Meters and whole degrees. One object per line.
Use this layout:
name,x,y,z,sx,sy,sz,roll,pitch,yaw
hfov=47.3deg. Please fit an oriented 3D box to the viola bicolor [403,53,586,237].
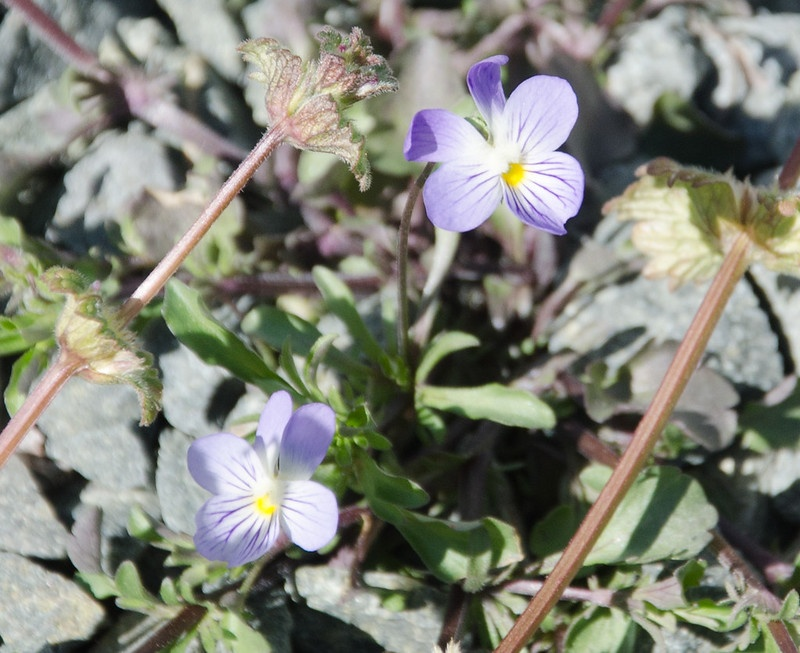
viola bicolor,0.316,-0.426,2.025,0.321,0.146,0.410,-20,72,-31

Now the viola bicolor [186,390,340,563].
viola bicolor,-0.281,0.344,1.964,0.327,0.092,0.372,27,100,12
